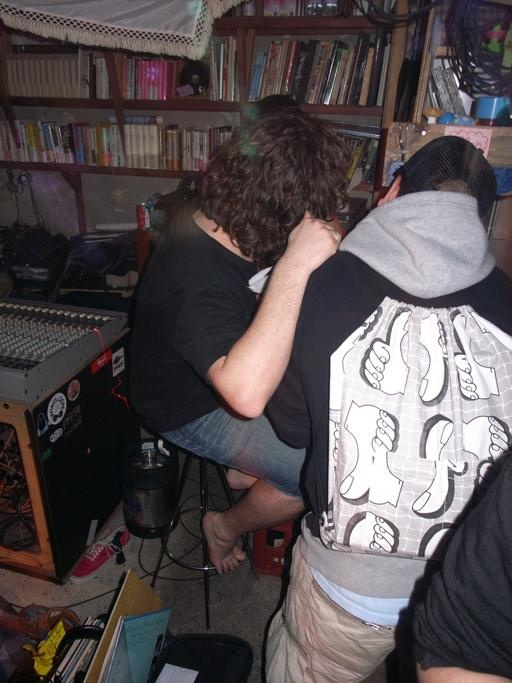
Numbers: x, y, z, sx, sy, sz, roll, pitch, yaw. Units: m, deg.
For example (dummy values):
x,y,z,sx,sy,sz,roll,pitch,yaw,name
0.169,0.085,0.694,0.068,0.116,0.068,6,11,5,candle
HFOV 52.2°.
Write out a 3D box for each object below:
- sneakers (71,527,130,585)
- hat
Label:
x,y,z,sx,sy,sz,roll,pitch,yaw,name
-0.552,0.782,1.915,0.079,0.071,0.194,21,17,15,sneakers
0.323,-0.282,0.946,0.129,0.098,0.171,10,22,-29,hat
